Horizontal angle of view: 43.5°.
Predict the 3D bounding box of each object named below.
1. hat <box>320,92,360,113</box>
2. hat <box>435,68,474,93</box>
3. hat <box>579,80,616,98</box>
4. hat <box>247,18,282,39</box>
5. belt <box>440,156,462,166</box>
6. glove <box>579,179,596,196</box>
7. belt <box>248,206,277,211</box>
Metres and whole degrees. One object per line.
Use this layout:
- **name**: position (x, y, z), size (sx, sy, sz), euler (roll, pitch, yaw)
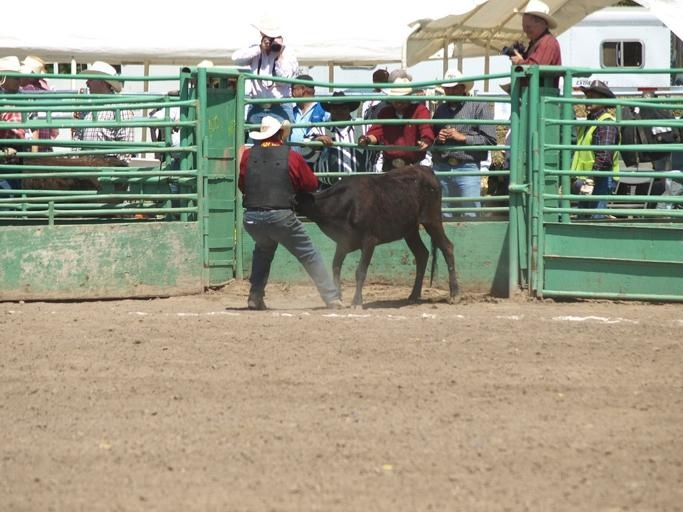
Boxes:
- **hat**: position (0.018, -1.893, 10.748), size (0.377, 0.148, 0.424), euler (0, -10, 1)
- **hat**: position (1.501, -2.284, 11.096), size (0.508, 0.236, 0.588), euler (-1, -21, 8)
- **hat**: position (3.411, -2.239, 11.396), size (0.427, 0.312, 1.328), euler (2, 6, 17)
- **hat**: position (-0.975, -2.987, 11.222), size (0.413, 0.179, 0.432), euler (-4, 28, -19)
- **belt**: position (1.390, -1.186, 10.760), size (0.209, 0.108, 0.061), euler (1, 6, 5)
- **glove**: position (3.014, -0.852, 10.484), size (0.176, 0.232, 0.108), euler (1, -38, 46)
- **belt**: position (-0.837, -0.490, 8.957), size (0.298, 0.044, 0.044), euler (2, 6, 16)
